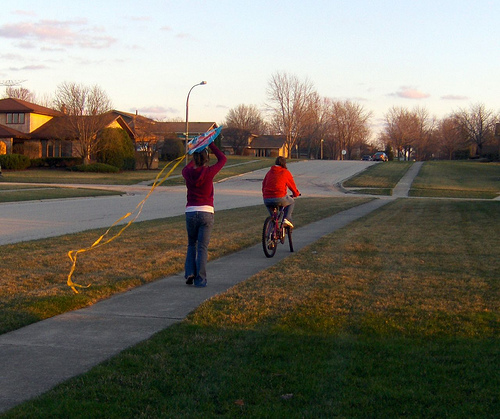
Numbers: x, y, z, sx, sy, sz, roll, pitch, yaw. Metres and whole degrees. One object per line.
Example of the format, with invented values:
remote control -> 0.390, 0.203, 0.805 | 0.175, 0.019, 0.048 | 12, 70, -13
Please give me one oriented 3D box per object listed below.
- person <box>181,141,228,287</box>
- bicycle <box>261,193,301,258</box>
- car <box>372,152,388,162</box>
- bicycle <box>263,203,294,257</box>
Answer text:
person -> -0.757, 0.084, 8.421 | 0.634, 2.274, 0.678 | 2, 7, -8
bicycle -> 0.627, 0.458, 11.007 | 0.514, 0.760, 1.136 | 3, 7, 16
car -> 20.313, -8.123, 84.101 | 1.512, 1.317, 3.680 | 1, 1, 11
bicycle -> 0.523, 0.432, 11.046 | 0.474, 1.045, 1.452 | 6, 8, 22
